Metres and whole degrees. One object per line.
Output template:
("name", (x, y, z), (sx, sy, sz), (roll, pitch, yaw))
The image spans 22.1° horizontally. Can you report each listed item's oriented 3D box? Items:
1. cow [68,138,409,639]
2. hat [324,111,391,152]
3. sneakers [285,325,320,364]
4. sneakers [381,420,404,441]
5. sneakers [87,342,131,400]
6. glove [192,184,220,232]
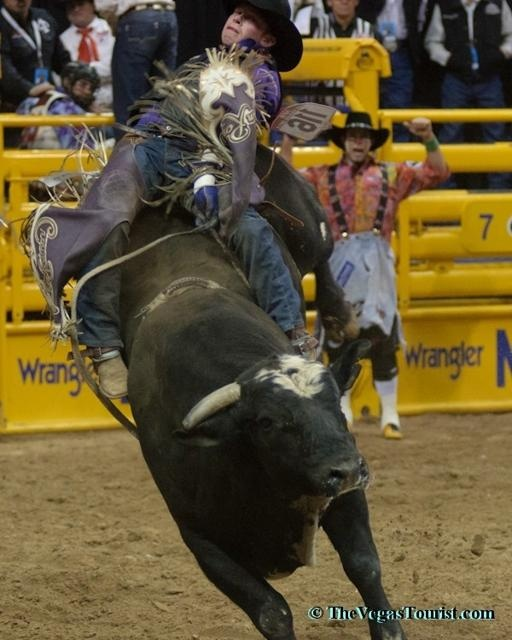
("cow", (-0.225, 0.090, 5.368), (0.904, 1.105, 2.466), (-22, 40, 4))
("hat", (0.636, -1.176, 8.095), (0.432, 0.157, 0.449), (1, -20, 1))
("sneakers", (0.187, 0.083, 5.245), (0.070, 0.075, 0.196), (-33, 15, -6))
("sneakers", (0.838, 0.687, 8.120), (0.102, 0.105, 0.263), (0, -9, -8))
("sneakers", (-0.579, 0.207, 5.263), (0.110, 0.265, 0.121), (-26, -7, -7))
("glove", (-0.213, -0.478, 5.366), (0.115, 0.153, 0.075), (2, 8, 29))
